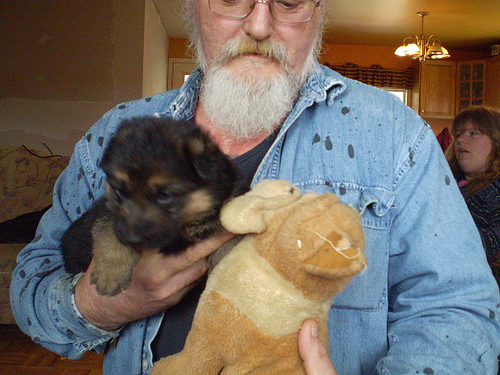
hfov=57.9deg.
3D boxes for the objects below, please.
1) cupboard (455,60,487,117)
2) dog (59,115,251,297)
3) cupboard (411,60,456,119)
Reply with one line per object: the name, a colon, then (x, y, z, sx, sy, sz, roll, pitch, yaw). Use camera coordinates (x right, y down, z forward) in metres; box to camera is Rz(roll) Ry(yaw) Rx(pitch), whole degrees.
cupboard: (4.893, -2.269, 10.067, 0.743, 1.105, 0.471, 11, 24, 21)
dog: (-0.387, 0.081, 1.996, 0.547, 0.644, 0.863, 0, -4, -6)
cupboard: (4.180, -2.216, 10.145, 0.914, 1.174, 0.544, 0, 22, -4)
